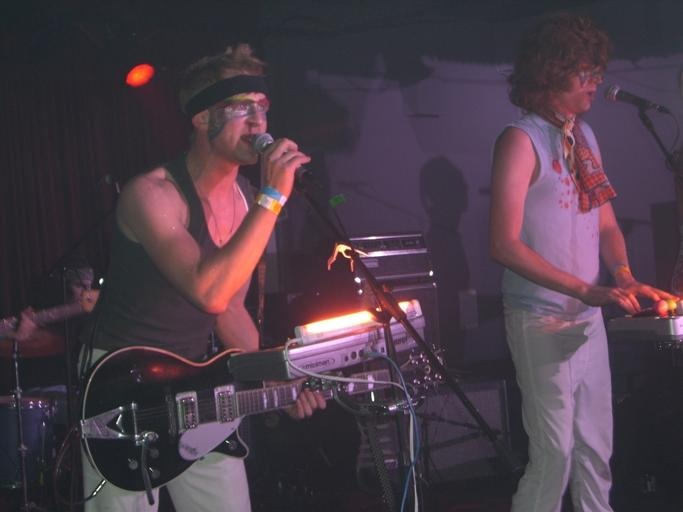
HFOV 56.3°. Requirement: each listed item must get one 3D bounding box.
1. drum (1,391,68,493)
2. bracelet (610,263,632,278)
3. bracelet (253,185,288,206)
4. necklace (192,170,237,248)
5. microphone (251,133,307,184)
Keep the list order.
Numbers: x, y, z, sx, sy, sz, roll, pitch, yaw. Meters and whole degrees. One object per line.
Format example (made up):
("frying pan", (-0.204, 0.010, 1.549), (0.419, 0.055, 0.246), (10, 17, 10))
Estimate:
("drum", (-2.415, 1.452, 5.056), (0.402, 0.717, 0.550), (-7, -5, 38))
("bracelet", (1.548, 0.079, 3.538), (0.094, 0.040, 0.130), (1, -2, 10))
("bracelet", (-0.314, -0.275, 2.901), (0.097, 0.038, 0.095), (28, 13, -42))
("necklace", (-0.622, -0.227, 3.222), (0.214, 0.383, 0.197), (5, 0, -6))
("microphone", (-0.332, -0.502, 3.090), (0.132, 0.141, 0.429), (-35, 36, -16))
